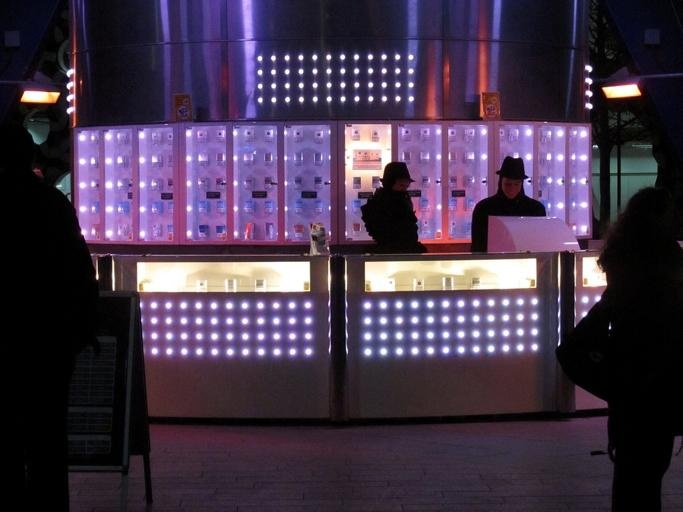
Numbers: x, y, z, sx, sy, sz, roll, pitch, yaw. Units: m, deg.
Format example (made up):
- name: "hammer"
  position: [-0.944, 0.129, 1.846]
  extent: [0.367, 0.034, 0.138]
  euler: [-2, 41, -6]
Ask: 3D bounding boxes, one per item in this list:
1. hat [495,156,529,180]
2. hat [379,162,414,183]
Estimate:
- name: "hat"
  position: [1.662, -0.869, 9.605]
  extent: [0.218, 0.148, 0.269]
  euler: [9, -1, 3]
- name: "hat"
  position: [0.529, -0.810, 9.548]
  extent: [0.236, 0.133, 0.175]
  euler: [-2, 2, 4]
